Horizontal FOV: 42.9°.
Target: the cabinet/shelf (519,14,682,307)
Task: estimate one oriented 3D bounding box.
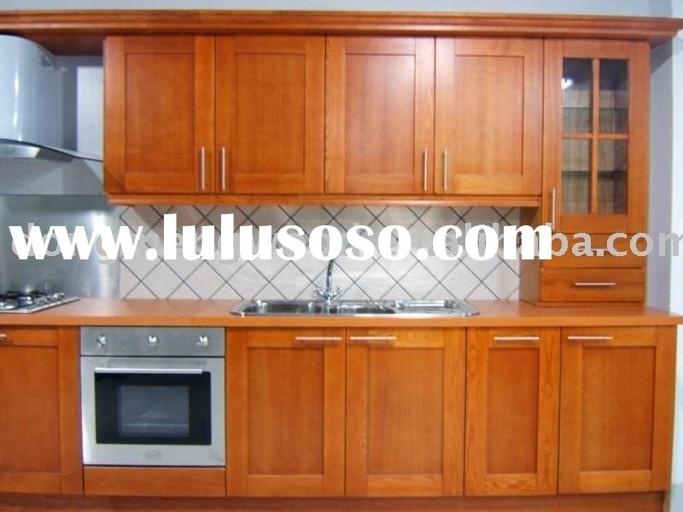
[{"bbox_3d":[1.529,-0.528,4.993,0.799,1.613,0.240,-1,2,-8],"label":"cabinet/shelf"}]

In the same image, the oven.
[{"bbox_3d":[-1.045,0.777,4.998,0.799,0.787,0.535,1,3,-3],"label":"oven"}]

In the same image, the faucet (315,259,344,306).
[{"bbox_3d":[-0.079,0.165,5.155,0.226,0.327,0.225,1,-6,-1],"label":"faucet"}]
